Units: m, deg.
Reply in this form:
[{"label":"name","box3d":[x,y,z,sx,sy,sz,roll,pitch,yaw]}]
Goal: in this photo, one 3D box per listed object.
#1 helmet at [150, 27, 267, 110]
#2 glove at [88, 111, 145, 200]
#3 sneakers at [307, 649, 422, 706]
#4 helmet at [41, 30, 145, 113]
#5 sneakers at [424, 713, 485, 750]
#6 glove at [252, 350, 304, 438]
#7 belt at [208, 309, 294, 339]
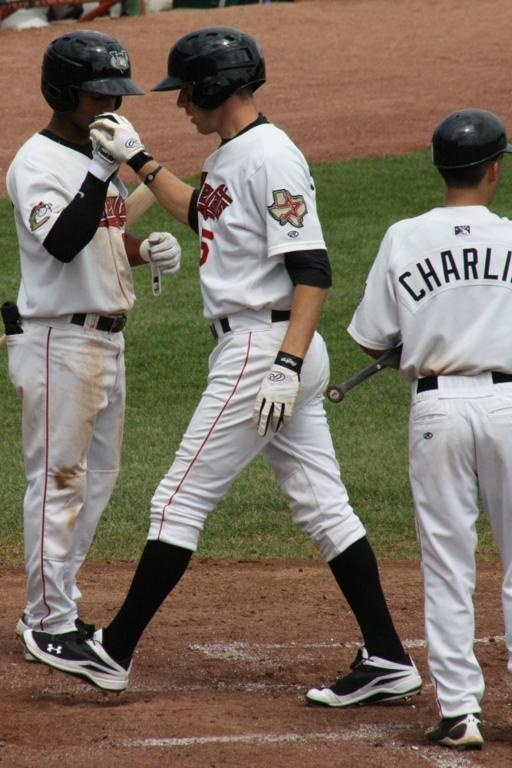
[{"label":"helmet","box3d":[-0.146,-1.034,3.272,0.405,0.238,0.277,-4,17,8]},{"label":"glove","box3d":[-0.431,-0.747,3.243,0.174,0.110,0.222,26,71,45]},{"label":"sneakers","box3d":[0.357,0.951,3.273,0.453,0.211,0.148,-1,-12,-6]},{"label":"helmet","box3d":[-0.539,-1.064,3.388,0.309,0.247,0.350,-6,30,-26]},{"label":"sneakers","box3d":[0.547,0.974,2.849,0.071,0.084,0.185,11,-5,-25]},{"label":"glove","box3d":[0.080,0.029,3.076,0.145,0.247,0.105,22,-3,36]},{"label":"belt","box3d":[-0.029,-0.193,3.170,0.306,0.088,0.126,4,6,42]}]
